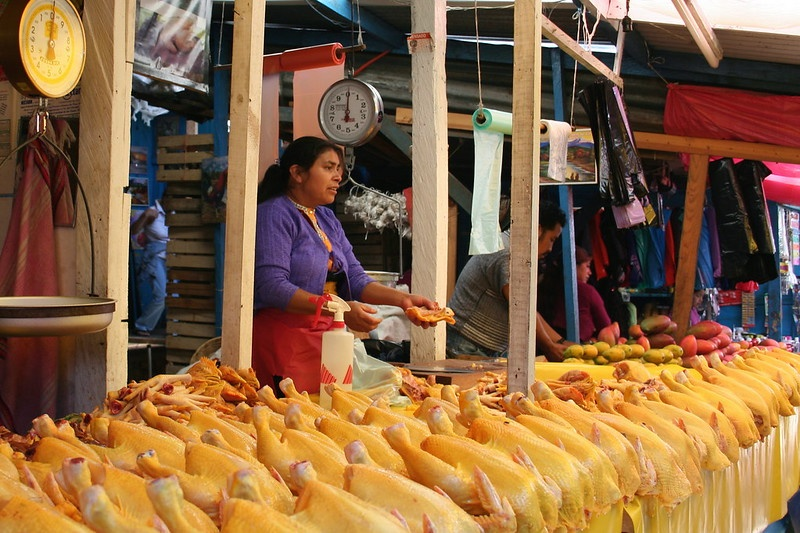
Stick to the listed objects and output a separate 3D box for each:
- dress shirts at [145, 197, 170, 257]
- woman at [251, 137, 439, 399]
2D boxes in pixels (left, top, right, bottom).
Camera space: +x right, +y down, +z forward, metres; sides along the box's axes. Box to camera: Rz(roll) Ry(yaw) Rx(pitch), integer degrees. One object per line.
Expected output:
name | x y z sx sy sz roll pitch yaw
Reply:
dress shirts | -2.652 -0.403 8.696 0.223 0.640 0.738 4 -8 -18
woman | -0.311 0.315 4.256 0.935 1.986 0.794 1 0 -7
